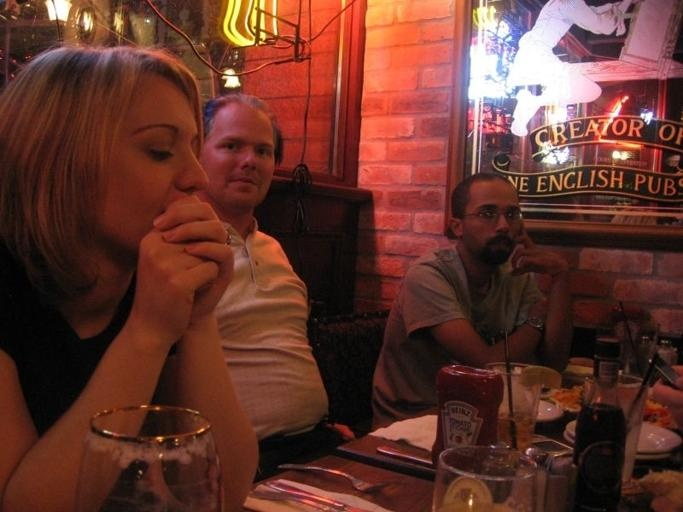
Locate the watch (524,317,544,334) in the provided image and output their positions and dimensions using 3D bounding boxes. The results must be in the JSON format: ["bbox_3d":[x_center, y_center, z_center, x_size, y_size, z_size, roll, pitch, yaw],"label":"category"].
[{"bbox_3d":[0.778,0.275,2.311,0.083,0.049,0.079,15,-14,-27],"label":"watch"}]
